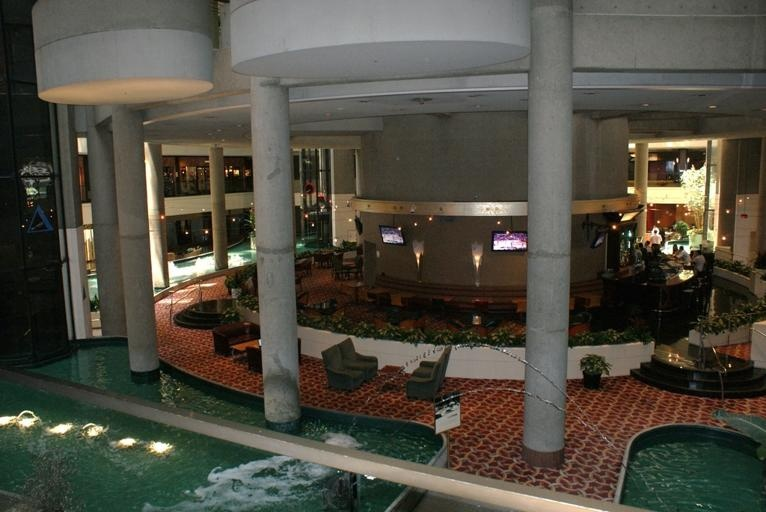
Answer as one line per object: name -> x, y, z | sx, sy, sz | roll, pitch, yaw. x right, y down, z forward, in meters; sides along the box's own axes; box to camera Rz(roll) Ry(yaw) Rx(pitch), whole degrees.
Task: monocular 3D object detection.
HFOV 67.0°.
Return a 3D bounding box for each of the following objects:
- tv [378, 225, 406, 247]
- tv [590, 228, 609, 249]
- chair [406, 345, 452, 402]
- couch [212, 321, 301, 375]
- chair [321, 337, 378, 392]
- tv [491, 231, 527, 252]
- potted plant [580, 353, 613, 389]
tv -> 0.439, -0.852, 24.739 | 0.275, 0.874, 1.382 | -14, 18, -35
tv -> 8.877, -0.779, 23.944 | 0.132, 0.668, 0.997 | 48, 36, 17
chair -> 1.181, 3.021, 15.057 | 0.903, 1.058, 1.360 | 3, 15, 20
couch -> -4.118, 2.686, 17.947 | 2.063, 1.109, 1.827 | -3, 5, -44
chair -> -0.897, 2.931, 15.717 | 0.973, 1.025, 1.316 | 6, 17, 29
tv -> 4.897, -0.565, 22.695 | 1.283, 0.838, 0.209 | 0, 16, 8
potted plant -> 5.374, 2.964, 15.302 | 0.951, 0.797, 0.882 | 0, 13, -3
